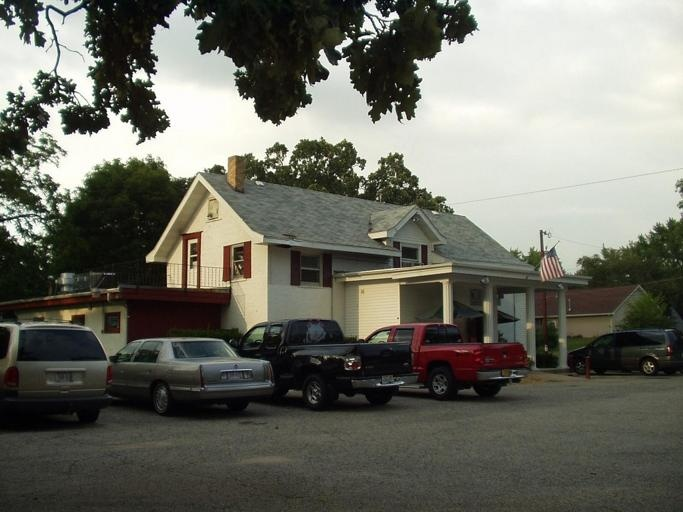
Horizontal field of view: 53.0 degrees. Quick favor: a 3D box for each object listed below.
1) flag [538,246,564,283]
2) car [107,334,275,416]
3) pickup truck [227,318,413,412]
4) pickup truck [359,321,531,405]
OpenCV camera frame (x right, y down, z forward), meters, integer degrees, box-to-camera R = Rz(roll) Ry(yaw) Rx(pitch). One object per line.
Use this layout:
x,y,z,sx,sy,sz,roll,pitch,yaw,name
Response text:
8.131,0.309,26.619,0.807,1.187,0.472,-3,-9,21,flag
-3.757,2.571,15.287,1.675,1.109,3.718,6,-6,-43,car
-0.610,2.451,16.866,1.951,1.539,3.910,6,-5,-42,pickup truck
2.630,2.832,18.986,2.016,1.669,4.324,5,-5,-40,pickup truck
